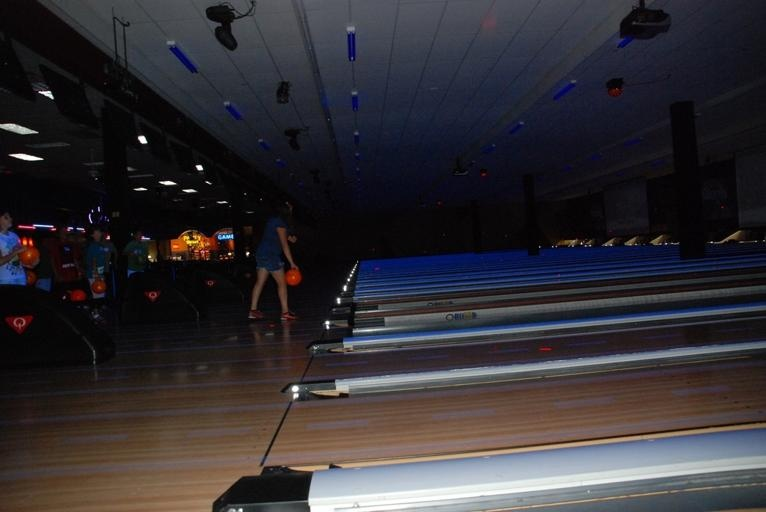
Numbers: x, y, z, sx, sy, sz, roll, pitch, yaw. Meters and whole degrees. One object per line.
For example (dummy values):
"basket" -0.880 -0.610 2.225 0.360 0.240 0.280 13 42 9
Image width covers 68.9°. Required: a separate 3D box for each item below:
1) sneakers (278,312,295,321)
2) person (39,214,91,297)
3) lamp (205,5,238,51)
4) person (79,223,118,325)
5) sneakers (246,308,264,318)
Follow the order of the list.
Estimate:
"sneakers" -1.162 0.735 6.803 0.168 0.100 0.158 0 -5 -15
"person" -5.435 0.209 9.601 0.587 1.521 0.500 -10 32 -36
"lamp" -1.765 -2.481 6.041 0.303 0.377 0.554 0 -5 -13
"person" -4.220 0.290 8.243 0.389 1.365 1.766 1 -5 -26
"sneakers" -1.632 0.736 7.070 0.223 0.091 0.092 -1 9 -14
